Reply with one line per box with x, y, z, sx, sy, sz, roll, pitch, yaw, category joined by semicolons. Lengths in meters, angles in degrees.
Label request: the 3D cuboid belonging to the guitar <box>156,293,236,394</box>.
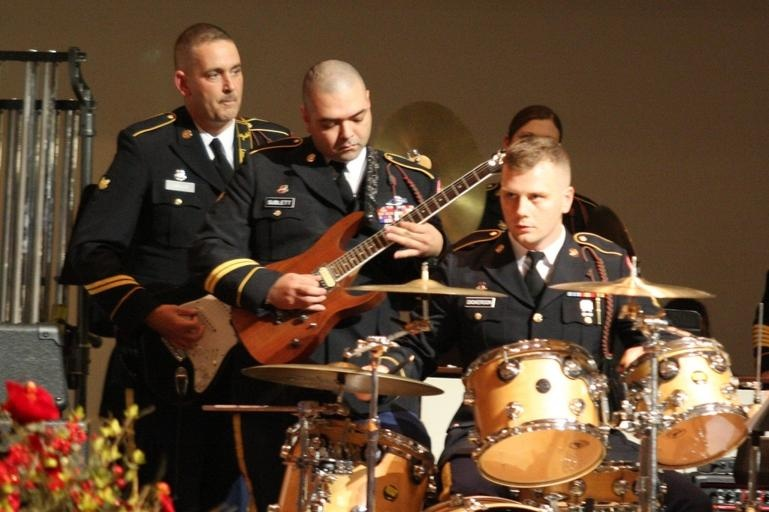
-0.926;0.452;4.640;0.392;0.494;0.064;0;-5;25;guitar

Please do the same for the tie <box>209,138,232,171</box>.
-0.924;-0.570;5.074;0.113;0.177;0.031;-17;-6;-4;tie

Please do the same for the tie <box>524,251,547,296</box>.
0.768;0.092;4.616;0.140;0.196;0.035;1;-7;3;tie

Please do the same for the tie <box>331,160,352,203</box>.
-0.212;-0.383;4.646;0.114;0.199;0.035;-5;-16;-4;tie

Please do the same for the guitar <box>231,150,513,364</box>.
-0.104;0.028;4.520;1.503;0.455;0.176;-27;-21;-6;guitar

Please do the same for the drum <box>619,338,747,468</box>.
1.473;0.702;4.190;0.394;0.643;0.424;2;-4;0;drum
